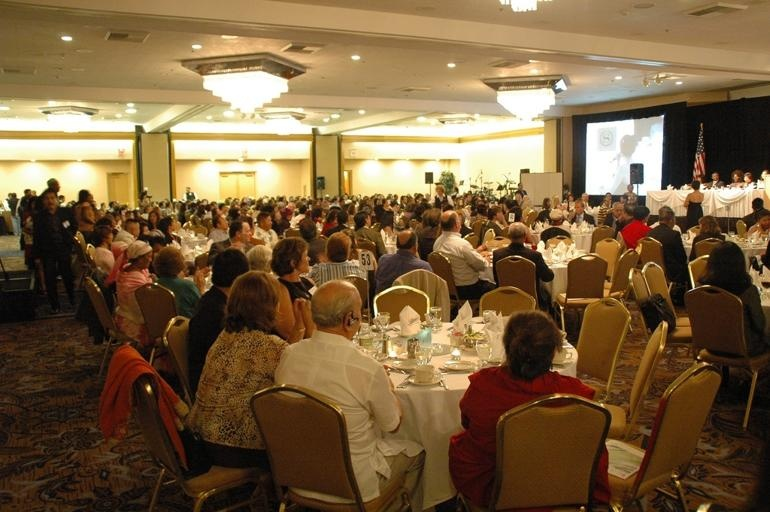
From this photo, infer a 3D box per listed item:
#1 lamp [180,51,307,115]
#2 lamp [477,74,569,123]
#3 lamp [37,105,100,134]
[{"bbox_3d":[-2.822,-3.782,11.463,1.518,0.827,1.532,-4,6,-24],"label":"lamp"},{"bbox_3d":[3.761,-4.249,14.139,1.371,0.753,1.412,-2,9,-1],"label":"lamp"},{"bbox_3d":[-9.958,-4.371,16.913,1.211,0.473,1.271,3,13,18],"label":"lamp"}]
